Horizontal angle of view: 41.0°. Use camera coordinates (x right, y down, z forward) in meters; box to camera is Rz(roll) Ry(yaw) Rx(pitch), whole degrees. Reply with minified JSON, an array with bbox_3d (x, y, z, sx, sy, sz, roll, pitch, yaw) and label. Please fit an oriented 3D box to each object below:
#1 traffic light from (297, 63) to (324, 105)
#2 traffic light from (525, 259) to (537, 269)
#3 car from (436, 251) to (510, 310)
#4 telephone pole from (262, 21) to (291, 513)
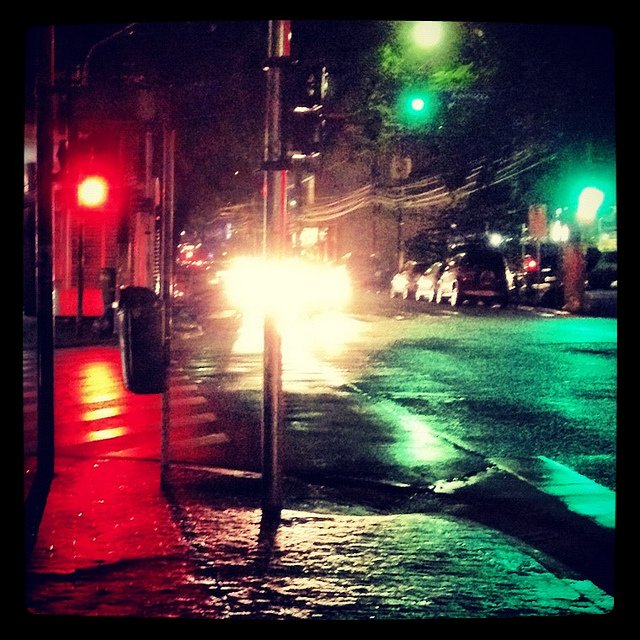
[{"bbox_3d":[-0.074,-1.752,6.416,0.208,0.371,0.066,3,2,-11],"label":"traffic light"},{"bbox_3d":[8.176,-2.161,33.069,0.480,0.353,0.317,2,3,36],"label":"traffic light"},{"bbox_3d":[5.048,-1.442,28.368,1.252,1.349,2.506,0,7,-8],"label":"car"},{"bbox_3d":[-0.319,-0.366,6.376,0.176,3.669,0.284,0,2,-4],"label":"telephone pole"}]
